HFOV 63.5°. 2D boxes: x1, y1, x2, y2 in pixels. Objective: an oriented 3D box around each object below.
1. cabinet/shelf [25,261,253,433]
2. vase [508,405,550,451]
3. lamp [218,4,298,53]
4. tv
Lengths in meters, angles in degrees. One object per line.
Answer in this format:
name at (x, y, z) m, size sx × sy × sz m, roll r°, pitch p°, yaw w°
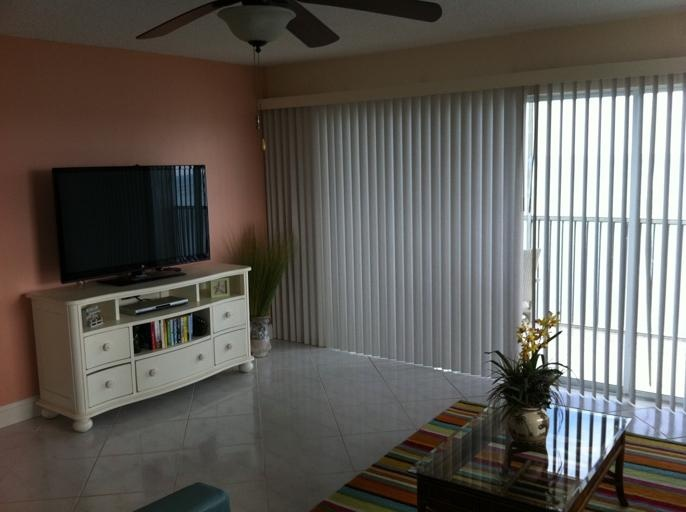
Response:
cabinet/shelf at (-1.667, 0.717, 4.684) m, size 1.685 × 1.069 × 0.516 m, roll -11°, pitch 16°, yaw -38°
vase at (1.055, 0.978, 3.218) m, size 0.219 × 0.212 × 0.221 m, roll 0°, pitch -4°, yaw -8°
lamp at (-0.460, -1.229, 2.930) m, size 0.265 × 0.122 × 0.266 m, roll 0°, pitch -2°, yaw -26°
tv at (-1.841, -0.254, 4.633) m, size 0.276 × 0.727 × 1.019 m, roll 5°, pitch 10°, yaw 39°
